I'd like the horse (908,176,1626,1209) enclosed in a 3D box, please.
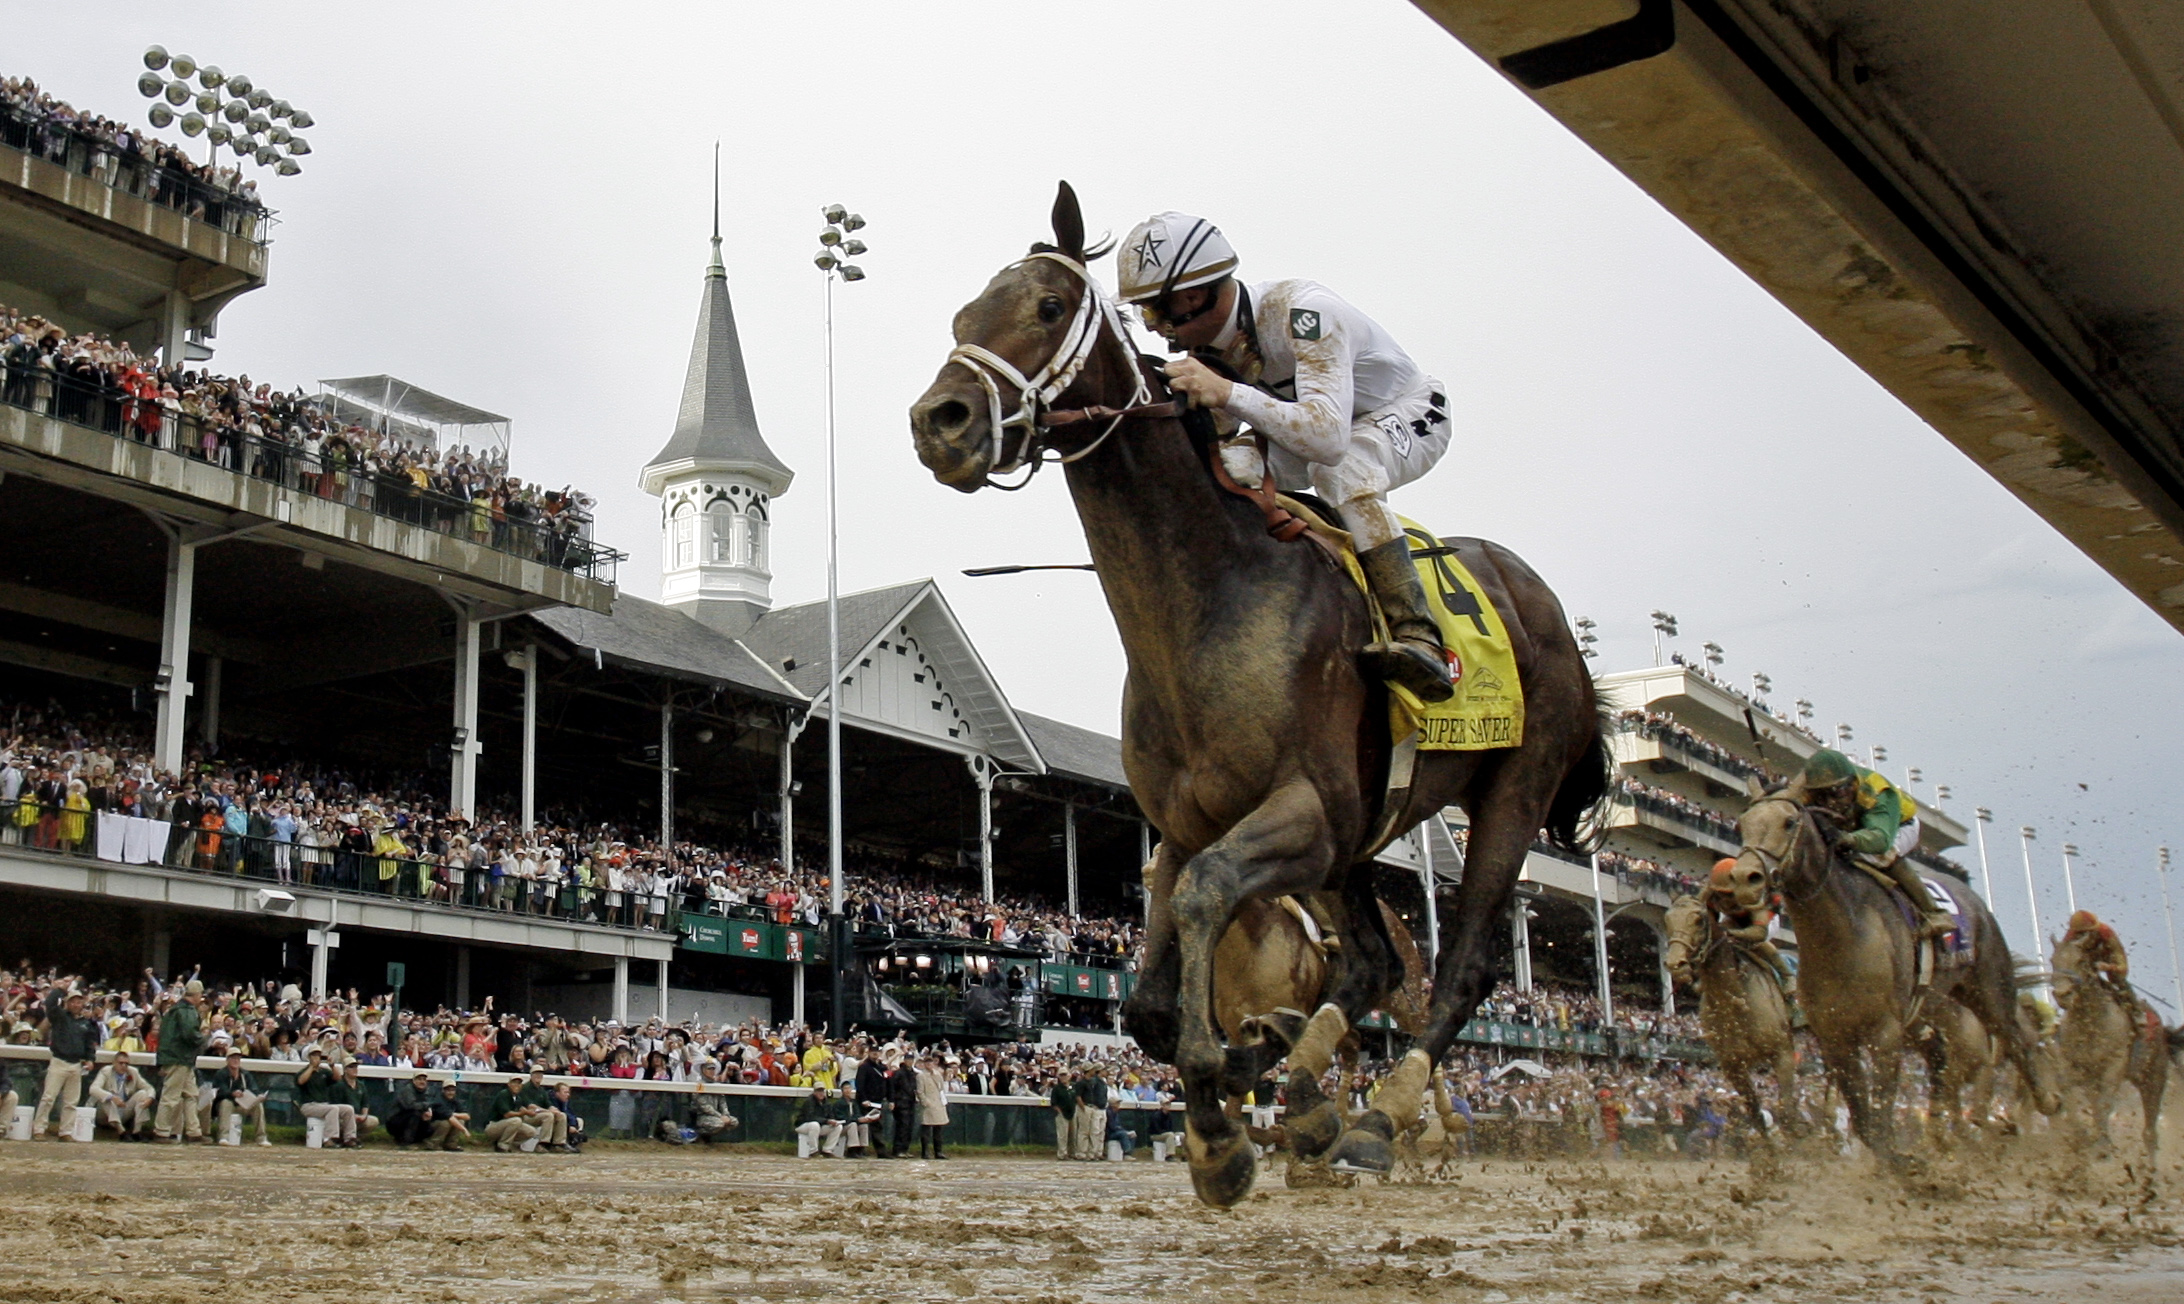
[{"bbox_3d":[1.256,0.304,17.014,4.791,6.734,2.013,17,-29,-39],"label":"horse"}]

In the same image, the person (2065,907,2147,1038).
[{"bbox_3d":[11.758,3.725,27.946,0.718,1.162,1.565,-12,-23,22],"label":"person"}]

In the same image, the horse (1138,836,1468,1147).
[{"bbox_3d":[1.501,2.310,18.111,1.196,2.366,3.481,-13,-12,35],"label":"horse"}]
